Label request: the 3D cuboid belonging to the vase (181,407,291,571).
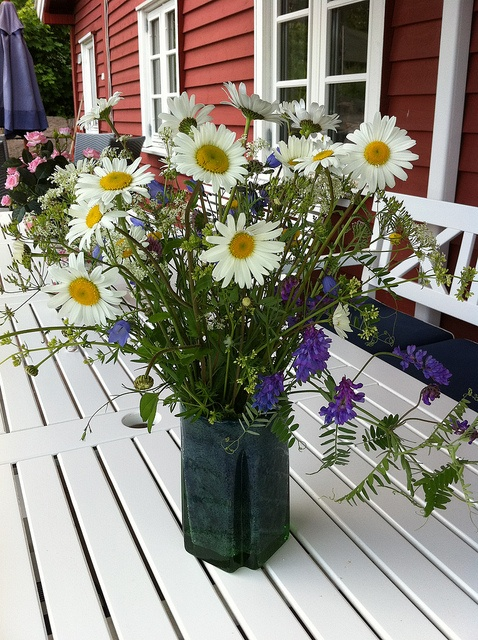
[{"bbox_3d":[-0.004,0.218,0.567,0.137,0.169,0.132,0,2,-3],"label":"vase"}]
